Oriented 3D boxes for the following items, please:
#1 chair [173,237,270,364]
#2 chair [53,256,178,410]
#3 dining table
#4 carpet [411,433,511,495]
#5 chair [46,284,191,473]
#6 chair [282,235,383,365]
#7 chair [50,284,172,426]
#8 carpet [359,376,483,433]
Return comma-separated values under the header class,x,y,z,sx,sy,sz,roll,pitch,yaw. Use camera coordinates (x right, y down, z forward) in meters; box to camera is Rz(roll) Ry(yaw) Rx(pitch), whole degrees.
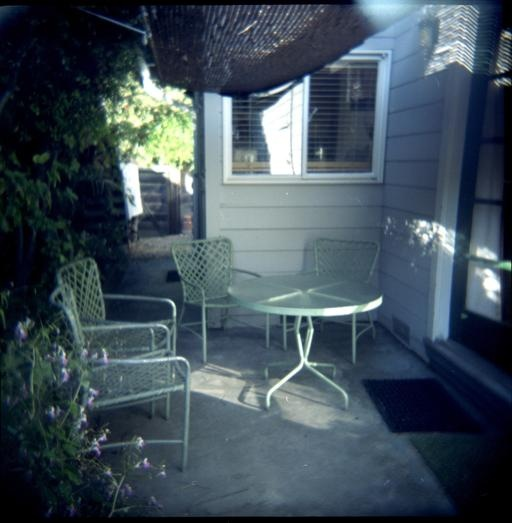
class,x,y,z,sx,sy,sz,roll,pitch,yaw
chair,-0.272,0.286,3.429,0.605,0.943,0.577,-6,9,-31
chair,-0.735,0.418,2.422,0.602,0.923,0.612,0,9,-4
dining table,0.289,0.482,2.609,0.667,0.574,0.657,-8,5,-44
carpet,1.031,0.927,2.106,0.492,0.055,0.430,-1,11,-8
chair,-0.593,0.334,1.924,0.376,0.621,0.322,3,10,-22
chair,0.803,0.310,3.539,0.548,0.986,0.645,-1,4,3
chair,-0.707,0.404,2.394,0.533,0.896,0.441,-1,-9,-5
carpet,0.958,0.838,2.643,0.528,0.048,0.696,0,11,-2
